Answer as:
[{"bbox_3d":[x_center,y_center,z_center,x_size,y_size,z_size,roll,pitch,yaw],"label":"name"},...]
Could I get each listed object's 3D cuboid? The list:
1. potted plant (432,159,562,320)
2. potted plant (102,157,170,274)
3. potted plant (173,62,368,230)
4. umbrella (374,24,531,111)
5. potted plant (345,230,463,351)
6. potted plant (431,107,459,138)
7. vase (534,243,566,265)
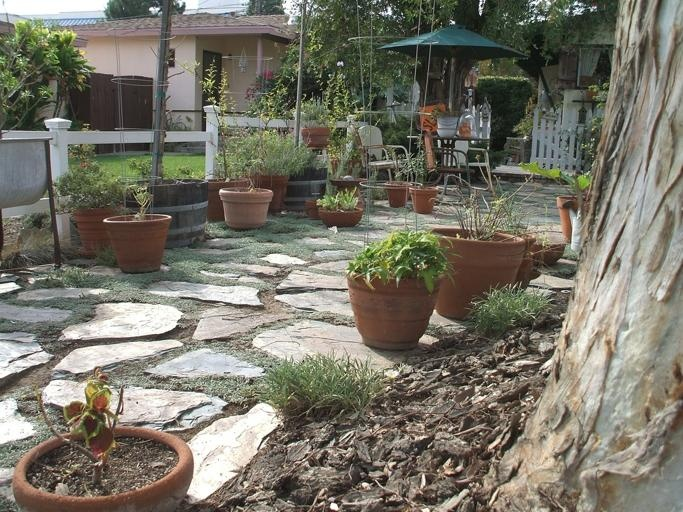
[{"bbox_3d":[1.002,-0.083,3.603,0.894,1.020,0.902,5,11,25],"label":"potted plant"},{"bbox_3d":[-1.700,-0.272,4.622,0.740,1.047,0.763,3,5,-3],"label":"potted plant"},{"bbox_3d":[-1.053,-1.607,7.573,1.907,1.893,3.174,2,14,1],"label":"potted plant"},{"bbox_3d":[1.996,-3.498,9.422,2.121,1.578,2.492,9,16,27],"label":"umbrella"},{"bbox_3d":[0.347,0.156,3.119,0.654,0.690,0.646,-6,10,-42],"label":"potted plant"},{"bbox_3d":[1.823,-2.331,9.093,0.473,0.443,0.491,2,9,12],"label":"potted plant"},{"bbox_3d":[1.901,0.022,4.709,0.341,0.234,0.351,2,10,24],"label":"vase"}]
